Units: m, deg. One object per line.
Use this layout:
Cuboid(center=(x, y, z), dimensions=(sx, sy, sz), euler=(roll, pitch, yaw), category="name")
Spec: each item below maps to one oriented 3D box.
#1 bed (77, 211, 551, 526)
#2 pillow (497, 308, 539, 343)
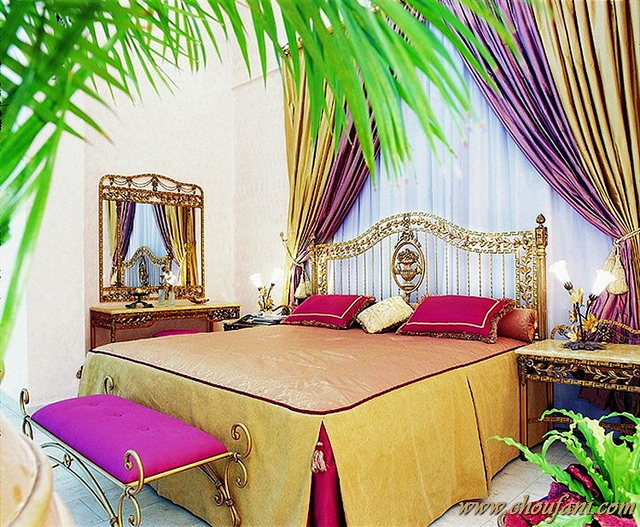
Cuboid(center=(0.022, 0.552, 2.970), dimensions=(1.653, 1.212, 1.655), euler=(1, -1, -42), category="bed")
Cuboid(center=(1.386, 0.428, 3.391), dimensions=(0.200, 0.248, 0.265), euler=(-5, -6, -30), category="pillow")
